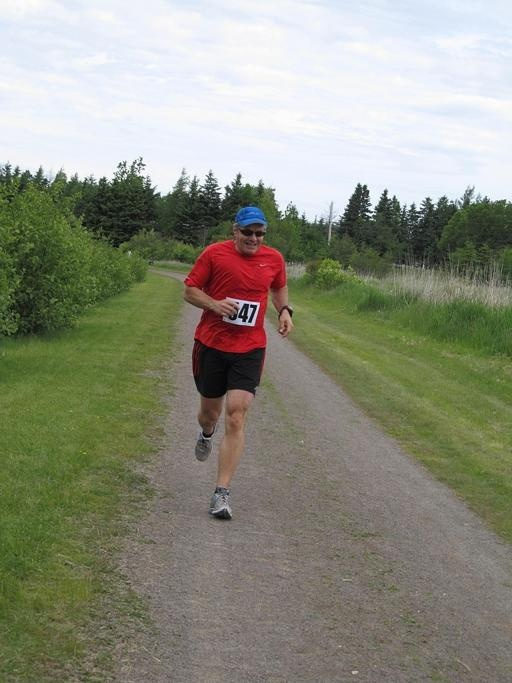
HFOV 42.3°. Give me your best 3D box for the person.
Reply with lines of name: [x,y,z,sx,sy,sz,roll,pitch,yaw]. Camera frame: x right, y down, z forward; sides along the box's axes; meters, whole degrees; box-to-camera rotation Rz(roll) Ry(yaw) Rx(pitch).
person: [-0.205,0.102,4.953,0.792,2.206,0.975,10,7,5]

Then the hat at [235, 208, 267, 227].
hat: [-0.037,-0.909,4.827,0.218,0.171,0.268,8,6,-3]

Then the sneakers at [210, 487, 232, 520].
sneakers: [-0.237,1.147,4.668,0.146,0.199,0.181,4,8,-34]

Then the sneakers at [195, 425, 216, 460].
sneakers: [-0.427,0.893,5.677,0.133,0.318,0.136,7,13,6]
